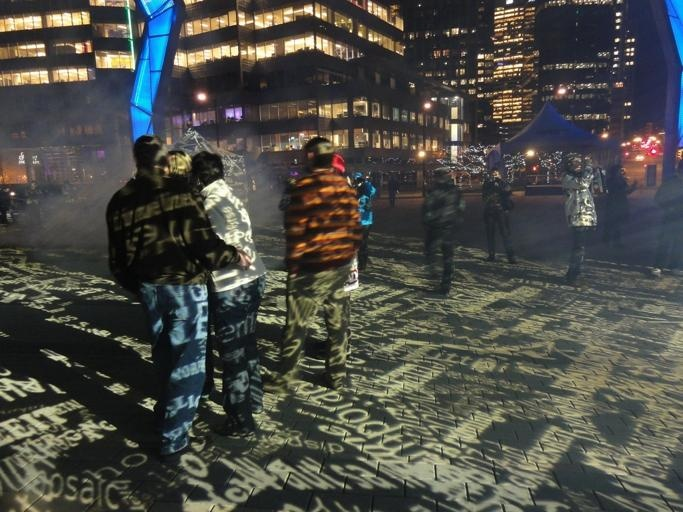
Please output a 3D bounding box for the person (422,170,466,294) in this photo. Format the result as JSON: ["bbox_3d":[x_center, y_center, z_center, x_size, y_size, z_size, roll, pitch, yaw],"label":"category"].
[{"bbox_3d":[1.646,-0.422,8.348,0.606,2.016,0.689,6,15,22],"label":"person"}]

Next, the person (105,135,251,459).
[{"bbox_3d":[-1.383,0.332,4.110,0.990,2.549,0.626,4,14,17],"label":"person"}]

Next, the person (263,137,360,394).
[{"bbox_3d":[-0.272,0.115,4.955,0.927,2.463,0.405,-2,14,-8],"label":"person"}]

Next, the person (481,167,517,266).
[{"bbox_3d":[3.386,-0.844,10.817,0.589,1.941,1.095,-1,14,-4],"label":"person"}]
